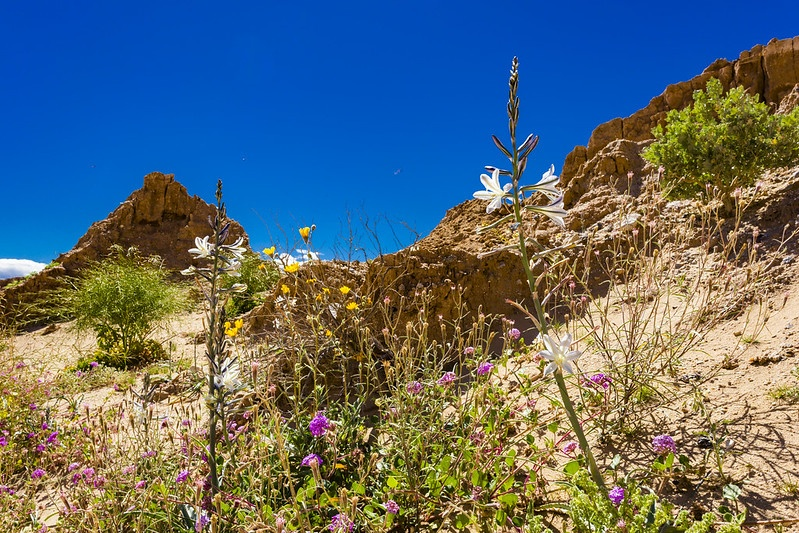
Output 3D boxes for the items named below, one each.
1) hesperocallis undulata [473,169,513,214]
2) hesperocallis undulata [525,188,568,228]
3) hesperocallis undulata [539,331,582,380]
[{"bbox_3d":[0.860,-0.710,6.010,0.338,0.253,0.648,-12,-7,18],"label":"hesperocallis undulata"},{"bbox_3d":[1.374,-0.540,6.018,0.319,0.279,0.304,-2,-2,20],"label":"hesperocallis undulata"},{"bbox_3d":[1.427,0.799,5.969,0.405,0.361,0.143,-51,8,-9],"label":"hesperocallis undulata"}]
